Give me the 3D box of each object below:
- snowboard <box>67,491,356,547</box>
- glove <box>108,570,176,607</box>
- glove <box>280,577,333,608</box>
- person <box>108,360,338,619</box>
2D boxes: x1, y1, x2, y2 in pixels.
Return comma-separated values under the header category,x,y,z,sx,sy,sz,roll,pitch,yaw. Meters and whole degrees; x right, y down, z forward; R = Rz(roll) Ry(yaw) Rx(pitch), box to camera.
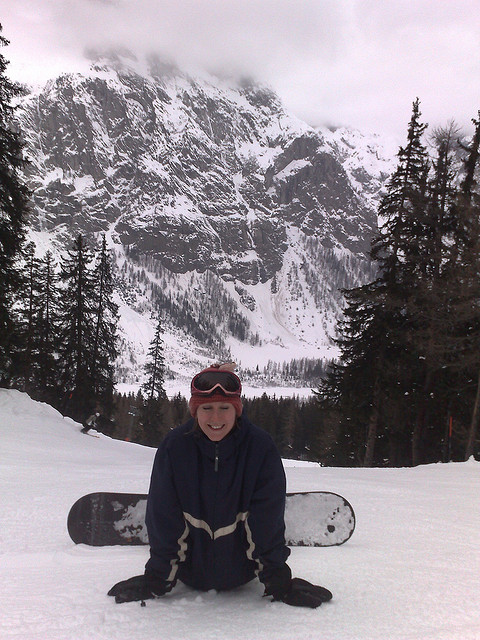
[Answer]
category,x,y,z,sx,sy,sz,roll,pitch,yaw
snowboard,-0.295,1.822,6.952,2.650,0.584,0.344,1,-2,4
glove,-0.739,2.068,5.866,0.419,0.136,0.245,-7,2,-15
glove,0.496,2.101,5.824,0.247,0.084,0.192,-5,10,33
person,-0.165,1.275,5.900,1.515,1.886,0.415,1,-2,1
